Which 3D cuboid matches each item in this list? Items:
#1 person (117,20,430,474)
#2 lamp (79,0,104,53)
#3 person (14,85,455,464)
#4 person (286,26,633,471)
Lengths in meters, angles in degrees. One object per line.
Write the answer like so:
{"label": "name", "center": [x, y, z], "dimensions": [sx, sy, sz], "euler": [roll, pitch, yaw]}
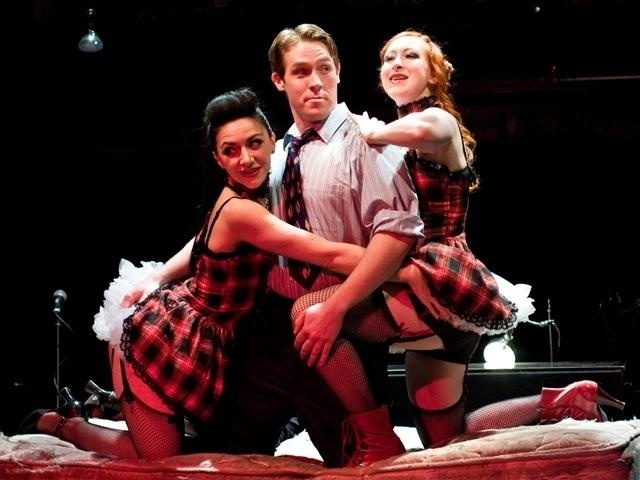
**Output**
{"label": "person", "center": [-0.061, 0.069, 2.244], "dimensions": [0.971, 1.648, 0.934], "euler": [-4, 4, -43]}
{"label": "lamp", "center": [-1.645, -1.473, 4.208], "dimensions": [0.166, 0.340, 0.388], "euler": [-3, -2, -22]}
{"label": "person", "center": [-0.378, 0.179, 2.221], "dimensions": [1.509, 1.401, 0.582], "euler": [2, -5, 24]}
{"label": "person", "center": [0.502, 0.065, 2.365], "dimensions": [1.472, 1.642, 0.818], "euler": [6, -3, -21]}
